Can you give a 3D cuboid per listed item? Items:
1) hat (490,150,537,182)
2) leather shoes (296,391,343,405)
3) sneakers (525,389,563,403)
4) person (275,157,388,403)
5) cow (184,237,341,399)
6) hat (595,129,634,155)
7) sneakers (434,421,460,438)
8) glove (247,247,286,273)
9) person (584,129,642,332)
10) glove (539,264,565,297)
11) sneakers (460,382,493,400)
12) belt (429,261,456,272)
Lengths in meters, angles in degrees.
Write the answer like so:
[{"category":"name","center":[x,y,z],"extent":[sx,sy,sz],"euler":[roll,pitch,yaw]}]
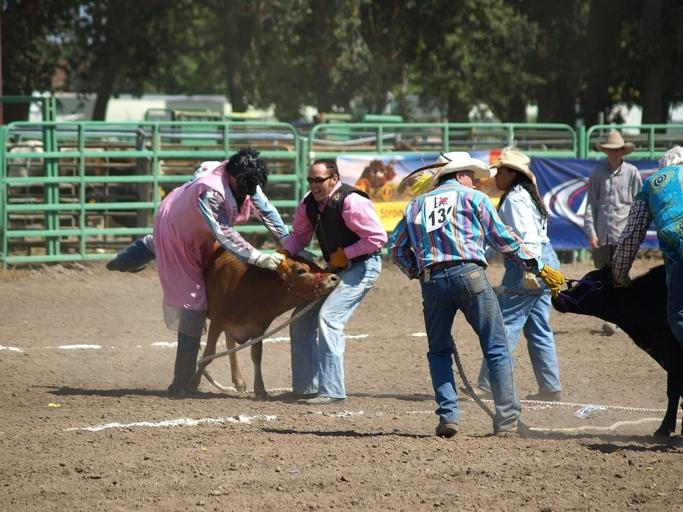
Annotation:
[{"category":"hat","center":[2.207,-1.264,19.675],"extent":[0.510,0.279,0.454],"euler":[13,3,10]},{"category":"leather shoes","center":[-0.284,1.841,19.551],"extent":[0.576,0.243,0.214],"euler":[4,-3,-4]},{"category":"sneakers","center":[2.643,1.801,19.849],"extent":[0.444,0.200,0.169],"euler":[4,-3,10]},{"category":"person","center":[-0.113,0.309,19.588],"extent":[1.277,3.155,0.555],"euler":[0,1,2]},{"category":"cow","center":[-1.172,0.886,19.806],"extent":[0.672,1.840,2.460],"euler":[12,-10,-41]},{"category":"hat","center":[4.028,-1.762,22.348],"extent":[0.452,0.243,0.575],"euler":[0,-13,14]},{"category":"sneakers","center":[1.283,2.120,18.583],"extent":[0.138,0.200,0.278],"euler":[0,-9,-21]},{"category":"glove","center":[-0.944,0.031,19.391],"extent":[0.493,0.258,0.321],"euler":[-1,1,-5]},{"category":"person","center":[3.988,-0.493,22.350],"extent":[0.802,2.925,0.751],"euler":[8,28,26]},{"category":"glove","center":[2.552,0.312,18.767],"extent":[0.370,0.167,0.311],"euler":[43,31,9]},{"category":"sneakers","center":[1.764,1.768,19.967],"extent":[0.504,0.228,0.158],"euler":[-4,0,26]},{"category":"belt","center":[1.247,0.099,18.489],"extent":[0.349,0.131,0.028],"euler":[0,1,8]}]
